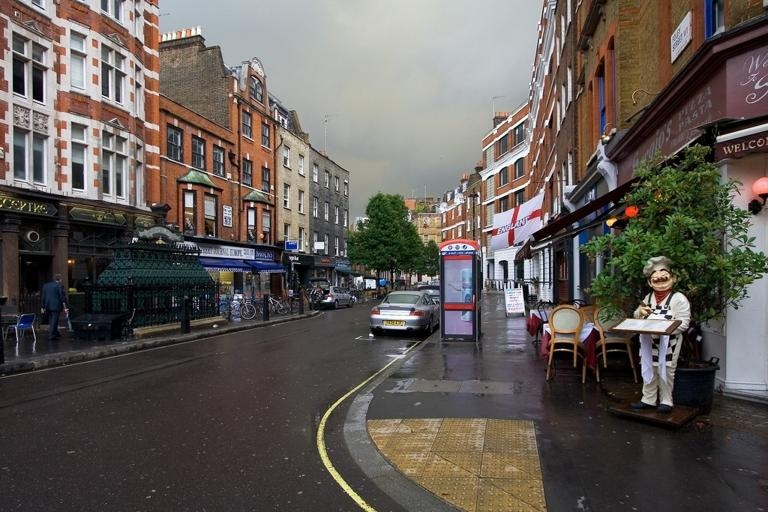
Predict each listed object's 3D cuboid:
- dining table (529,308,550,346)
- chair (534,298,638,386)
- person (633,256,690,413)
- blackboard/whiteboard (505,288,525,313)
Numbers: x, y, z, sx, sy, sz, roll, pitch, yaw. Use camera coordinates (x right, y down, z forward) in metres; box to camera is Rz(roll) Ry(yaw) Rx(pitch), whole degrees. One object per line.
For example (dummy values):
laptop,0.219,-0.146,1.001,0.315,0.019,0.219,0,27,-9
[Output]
dining table,4.267,1.940,17.760,0.684,0.642,0.736,-11,2,10
chair,4.690,1.935,15.372,1.365,1.355,2.251,0,1,21
person,5.184,1.452,12.070,0.899,2.815,0.777,2,11,23
blackboard/whiteboard,5.708,1.945,28.117,0.830,1.333,0.743,-2,-17,1
